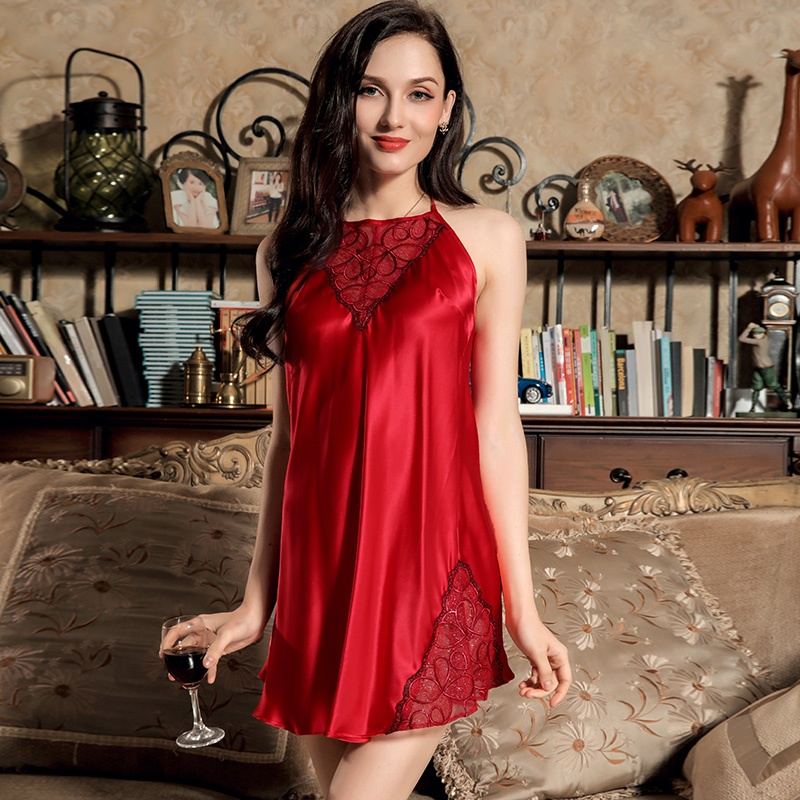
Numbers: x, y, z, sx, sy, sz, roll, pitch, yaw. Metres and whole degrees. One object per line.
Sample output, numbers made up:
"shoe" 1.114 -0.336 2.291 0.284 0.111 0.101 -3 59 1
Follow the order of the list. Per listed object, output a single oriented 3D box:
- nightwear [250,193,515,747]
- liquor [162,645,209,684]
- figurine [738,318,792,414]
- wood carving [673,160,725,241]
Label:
"nightwear" -0.036 0.071 1.010 0.322 0.680 0.248 -2 5 -15
"liquor" -0.286 0.354 1.019 0.069 0.036 0.058 0 -1 -12
"figurine" 1.103 -0.099 2.327 0.137 0.265 0.203 0 4 14
"wood carving" 0.939 -0.630 2.412 0.150 0.318 0.352 1 4 20
